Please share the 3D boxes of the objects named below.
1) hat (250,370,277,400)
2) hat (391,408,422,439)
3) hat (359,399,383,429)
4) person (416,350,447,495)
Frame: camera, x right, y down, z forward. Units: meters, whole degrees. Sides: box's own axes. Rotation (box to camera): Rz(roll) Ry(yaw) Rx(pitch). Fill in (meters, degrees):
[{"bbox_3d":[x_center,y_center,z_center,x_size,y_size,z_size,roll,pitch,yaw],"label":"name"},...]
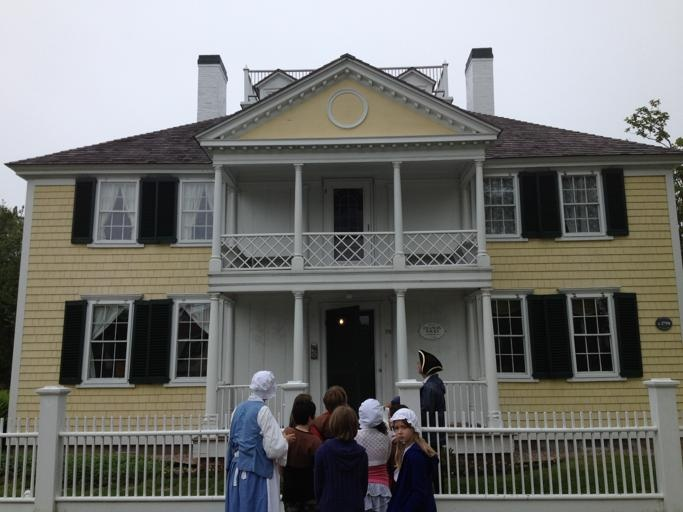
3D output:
[{"bbox_3d":[-1.138,1.860,10.374,0.349,0.405,0.414,2,0,6],"label":"hat"},{"bbox_3d":[0.957,2.293,9.985,0.483,0.380,0.466,0,-11,-3],"label":"hat"},{"bbox_3d":[0.417,2.204,10.168,0.314,0.353,0.395,1,2,5],"label":"hat"},{"bbox_3d":[1.543,3.161,13.290,0.878,2.746,0.876,-2,-4,13],"label":"person"}]
